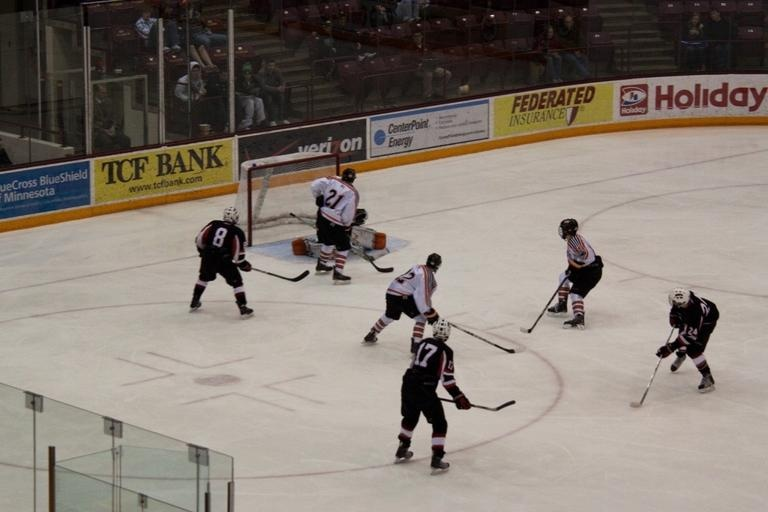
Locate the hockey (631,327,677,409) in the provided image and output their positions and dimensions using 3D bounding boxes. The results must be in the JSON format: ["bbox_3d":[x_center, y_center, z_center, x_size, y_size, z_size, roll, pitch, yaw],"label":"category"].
[{"bbox_3d":[3.869,1.660,18.363,0.212,1.368,0.113,35,-15,28],"label":"hockey"}]

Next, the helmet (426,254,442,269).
[{"bbox_3d":[0.722,0.073,18.322,0.171,0.234,0.373,0,11,7],"label":"helmet"}]

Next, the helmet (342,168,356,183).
[{"bbox_3d":[-0.578,-1.368,21.522,0.272,0.250,0.278,5,-6,14],"label":"helmet"}]

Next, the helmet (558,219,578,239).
[{"bbox_3d":[2.871,-0.411,19.867,0.249,0.332,0.363,-1,12,3],"label":"helmet"}]

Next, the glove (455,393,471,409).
[{"bbox_3d":[0.995,1.833,16.139,0.196,0.215,0.223,-1,12,2],"label":"glove"}]

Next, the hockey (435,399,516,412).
[{"bbox_3d":[1.220,2.001,17.008,1.221,0.142,0.084,12,-25,-30],"label":"hockey"}]

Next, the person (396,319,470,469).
[{"bbox_3d":[0.610,1.767,16.167,0.910,1.875,0.550,6,16,30],"label":"person"}]

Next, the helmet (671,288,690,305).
[{"bbox_3d":[4.046,0.559,17.558,0.230,0.199,0.261,-9,-27,-7],"label":"helmet"}]

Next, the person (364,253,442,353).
[{"bbox_3d":[0.288,0.773,19.299,1.211,0.693,1.432,-8,-30,-20],"label":"person"}]

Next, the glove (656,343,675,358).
[{"bbox_3d":[3.900,1.339,17.751,0.253,0.080,0.187,-31,31,-22],"label":"glove"}]

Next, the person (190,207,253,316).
[{"bbox_3d":[-2.583,0.083,20.123,0.984,1.692,0.745,-3,14,-6],"label":"person"}]

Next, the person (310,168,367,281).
[{"bbox_3d":[-0.834,-0.512,21.507,0.700,1.861,0.697,2,14,18],"label":"person"}]

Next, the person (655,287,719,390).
[{"bbox_3d":[4.248,1.153,17.959,0.804,1.487,0.688,1,14,10],"label":"person"}]

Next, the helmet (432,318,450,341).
[{"bbox_3d":[0.732,0.954,16.152,0.201,0.267,0.231,-1,12,2],"label":"helmet"}]
